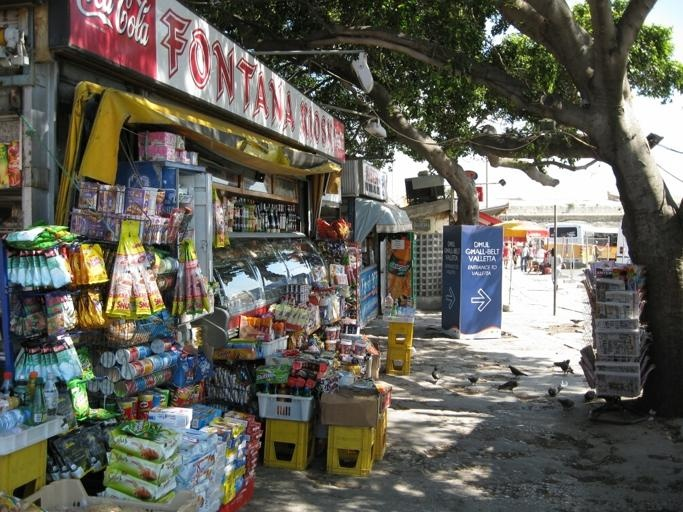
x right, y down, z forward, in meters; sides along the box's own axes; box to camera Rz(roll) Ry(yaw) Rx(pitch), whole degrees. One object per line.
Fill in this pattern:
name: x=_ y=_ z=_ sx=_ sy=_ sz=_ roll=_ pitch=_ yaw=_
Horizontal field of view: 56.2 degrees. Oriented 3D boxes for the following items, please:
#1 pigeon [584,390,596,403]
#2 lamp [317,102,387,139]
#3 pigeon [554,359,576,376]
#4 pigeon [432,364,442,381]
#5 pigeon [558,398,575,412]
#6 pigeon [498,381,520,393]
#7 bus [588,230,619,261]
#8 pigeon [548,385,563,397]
pigeon: x=3.755 y=2.112 z=9.659 sx=0.152 sy=0.144 sz=0.184 roll=-5 pitch=-5 yaw=2
lamp: x=0.417 y=-2.959 z=14.690 sx=1.710 sy=1.360 sz=1.215 roll=4 pitch=8 yaw=3
pigeon: x=4.016 y=1.938 z=11.530 sx=0.318 sy=0.275 sz=0.663 roll=2 pitch=5 yaw=15
pigeon: x=1.642 y=2.021 z=11.090 sx=0.129 sy=0.292 sz=0.202 roll=-15 pitch=-2 yaw=27
pigeon: x=3.334 y=2.198 z=9.445 sx=0.241 sy=0.192 sz=0.134 roll=-4 pitch=-2 yaw=4
pigeon: x=2.700 y=2.056 z=10.360 sx=0.310 sy=0.188 sz=0.444 roll=2 pitch=5 yaw=14
bus: x=16.728 y=-0.724 z=40.900 sx=1.460 sy=2.130 sz=4.208 roll=3 pitch=8 yaw=23
pigeon: x=3.396 y=2.108 z=10.165 sx=0.186 sy=0.151 sz=0.476 roll=3 pitch=6 yaw=33
